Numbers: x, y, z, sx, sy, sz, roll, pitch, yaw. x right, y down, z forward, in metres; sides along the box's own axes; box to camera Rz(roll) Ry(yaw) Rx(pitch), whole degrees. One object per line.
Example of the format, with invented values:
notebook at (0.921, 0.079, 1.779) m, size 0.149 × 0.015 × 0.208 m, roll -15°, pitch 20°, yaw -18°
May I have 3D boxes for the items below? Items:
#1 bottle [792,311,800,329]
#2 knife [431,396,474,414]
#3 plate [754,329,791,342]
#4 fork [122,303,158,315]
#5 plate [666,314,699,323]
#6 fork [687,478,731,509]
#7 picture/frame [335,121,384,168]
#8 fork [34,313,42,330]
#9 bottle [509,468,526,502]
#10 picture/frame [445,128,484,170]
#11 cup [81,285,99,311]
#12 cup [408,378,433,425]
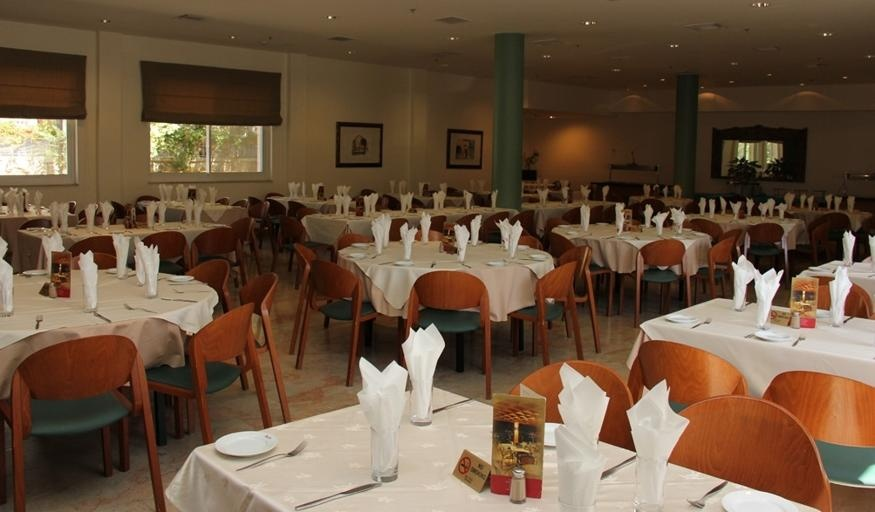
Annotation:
bottle at (2.734, 0.480, 4.676) m, size 0.074 × 0.116 × 0.045 m, roll -2°, pitch 9°, yaw -8°
knife at (0.080, 0.858, 3.556) m, size 0.387 × 0.016 × 0.040 m, roll -11°, pitch 29°, yaw -39°
plate at (2.458, 0.574, 4.499) m, size 0.225 × 0.040 × 0.275 m, roll 7°, pitch 10°, yaw 41°
fork at (-2.247, 0.394, 4.637) m, size 0.229 × 0.033 × 0.032 m, roll 6°, pitch 19°, yaw 8°
plate at (1.890, 0.479, 4.762) m, size 0.241 × 0.030 × 0.184 m, roll -5°, pitch 9°, yaw -32°
fork at (1.300, 1.139, 2.963) m, size 0.076 × 0.061 × 0.364 m, roll 13°, pitch 9°, yaw 38°
picture/frame at (-1.959, -2.729, 14.915) m, size 1.272 × 1.037 × 0.100 m, roll 2°, pitch -2°, yaw -40°
fork at (-2.829, 0.459, 4.354) m, size 0.055 × 0.031 × 0.191 m, roll 0°, pitch 22°, yaw -23°
bottle at (0.384, 1.081, 2.921) m, size 0.077 × 0.158 × 0.047 m, roll 1°, pitch 9°, yaw 5°
picture/frame at (0.698, -3.034, 17.200) m, size 1.322 × 1.094 × 0.101 m, roll 0°, pitch -2°, yaw -44°
cup at (-2.602, 0.308, 4.602) m, size 0.087 × 0.183 × 0.158 m, roll -5°, pitch 10°, yaw -30°
cup at (-0.090, 0.785, 3.412) m, size 0.127 × 0.267 × 0.185 m, roll -1°, pitch 8°, yaw -2°
